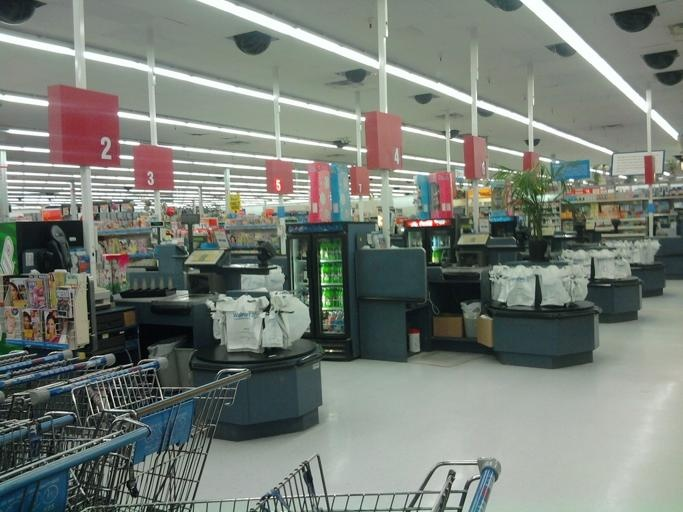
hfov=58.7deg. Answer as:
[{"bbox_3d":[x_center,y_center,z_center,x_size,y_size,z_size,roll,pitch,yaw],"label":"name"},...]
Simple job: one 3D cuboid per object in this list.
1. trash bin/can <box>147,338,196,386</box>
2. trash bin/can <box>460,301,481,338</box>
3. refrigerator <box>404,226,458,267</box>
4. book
[{"bbox_3d":[-1.750,1.118,6.297,0.474,0.531,0.700,-1,-2,-5],"label":"trash bin/can"},{"bbox_3d":[1.910,0.937,8.858,0.375,0.655,0.424,-1,-3,16],"label":"trash bin/can"},{"bbox_3d":[1.818,-0.299,12.433,1.201,1.134,0.662,-1,-4,25],"label":"refrigerator"},{"bbox_3d":[-2.820,0.508,5.692,0.642,0.659,0.224,1,1,29],"label":"book"}]
